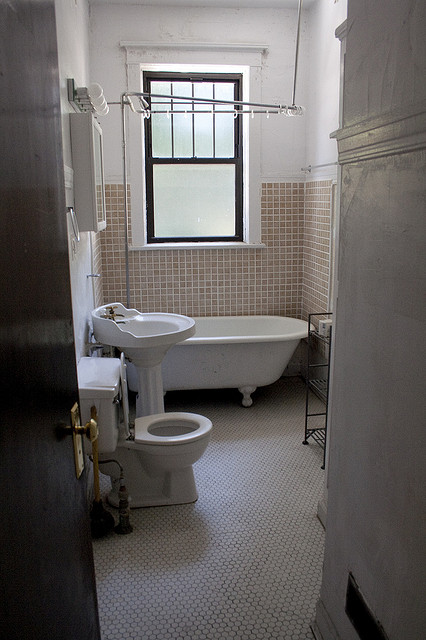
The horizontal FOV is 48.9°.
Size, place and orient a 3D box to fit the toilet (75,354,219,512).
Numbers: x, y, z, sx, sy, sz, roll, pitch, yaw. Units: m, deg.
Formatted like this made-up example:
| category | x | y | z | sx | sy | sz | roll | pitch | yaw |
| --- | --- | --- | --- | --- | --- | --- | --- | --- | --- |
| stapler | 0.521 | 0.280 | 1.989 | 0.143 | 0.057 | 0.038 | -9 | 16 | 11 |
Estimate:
| category | x | y | z | sx | sy | sz | roll | pitch | yaw |
| --- | --- | --- | --- | --- | --- | --- | --- | --- | --- |
| toilet | -0.355 | 0.590 | 2.426 | 0.538 | 0.816 | 0.510 | 2 | 14 | -10 |

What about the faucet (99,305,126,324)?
| category | x | y | z | sx | sy | sz | roll | pitch | yaw |
| --- | --- | --- | --- | --- | --- | --- | --- | --- | --- |
| faucet | -0.625 | -0.023 | 2.877 | 0.093 | 0.098 | 0.117 | 1 | 2 | 3 |

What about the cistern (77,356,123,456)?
| category | x | y | z | sx | sy | sz | roll | pitch | yaw |
| --- | --- | --- | --- | --- | --- | --- | --- | --- | --- |
| cistern | -0.469 | 0.372 | 1.970 | 0.210 | 0.322 | 0.403 | 1 | 10 | -7 |

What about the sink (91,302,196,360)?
| category | x | y | z | sx | sy | sz | roll | pitch | yaw |
| --- | --- | --- | --- | --- | --- | --- | --- | --- | --- |
| sink | -0.407 | -0.017 | 2.915 | 0.610 | 0.352 | 0.709 | -2 | 14 | -6 |

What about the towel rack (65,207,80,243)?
| category | x | y | z | sx | sy | sz | roll | pitch | yaw |
| --- | --- | --- | --- | --- | --- | --- | --- | --- | --- |
| towel rack | -0.719 | -0.495 | 2.427 | 0.051 | 0.167 | 0.200 | -3 | 9 | -16 |
